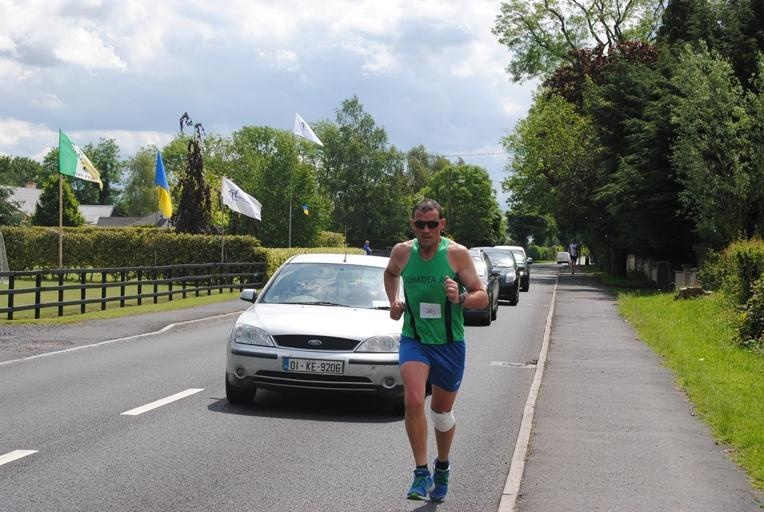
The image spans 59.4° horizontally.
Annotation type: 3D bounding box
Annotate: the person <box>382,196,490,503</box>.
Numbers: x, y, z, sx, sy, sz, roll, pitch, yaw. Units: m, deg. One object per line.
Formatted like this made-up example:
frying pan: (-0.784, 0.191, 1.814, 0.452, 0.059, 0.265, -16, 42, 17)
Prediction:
person: (0.503, 0.922, 6.490, 0.912, 2.987, 0.669, 0, 1, -1)

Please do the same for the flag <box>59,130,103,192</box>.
flag: (-12.448, -4.051, 27.930, 0.186, 1.819, 2.425, -9, -14, 18)

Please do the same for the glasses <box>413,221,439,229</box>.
glasses: (0.437, -0.311, 6.481, 0.230, 0.075, 0.061, 0, 0, 1)

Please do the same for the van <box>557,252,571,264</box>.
van: (27.742, 0.232, 102.633, 1.731, 1.684, 3.894, 0, 3, 17)

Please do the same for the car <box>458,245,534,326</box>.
car: (3.999, 0.839, 23.236, 1.729, 1.731, 4.190, -1, -5, 10)

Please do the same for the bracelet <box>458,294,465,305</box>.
bracelet: (0.753, 0.407, 6.344, 0.058, 0.089, 0.032, -7, -29, 17)
